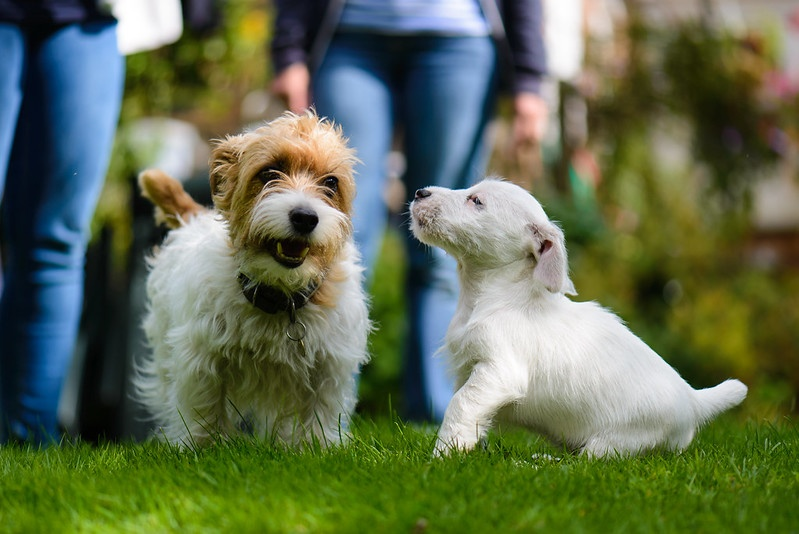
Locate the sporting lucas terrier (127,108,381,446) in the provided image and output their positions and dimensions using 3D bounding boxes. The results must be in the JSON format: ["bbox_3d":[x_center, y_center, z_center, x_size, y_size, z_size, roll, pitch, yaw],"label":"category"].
[{"bbox_3d":[-0.951,0.097,6.110,1.086,1.976,2.680,7,0,-19],"label":"sporting lucas terrier"}]
